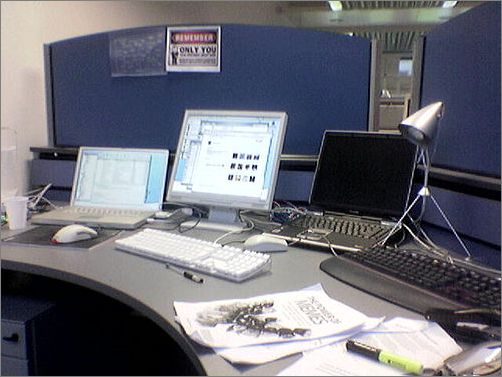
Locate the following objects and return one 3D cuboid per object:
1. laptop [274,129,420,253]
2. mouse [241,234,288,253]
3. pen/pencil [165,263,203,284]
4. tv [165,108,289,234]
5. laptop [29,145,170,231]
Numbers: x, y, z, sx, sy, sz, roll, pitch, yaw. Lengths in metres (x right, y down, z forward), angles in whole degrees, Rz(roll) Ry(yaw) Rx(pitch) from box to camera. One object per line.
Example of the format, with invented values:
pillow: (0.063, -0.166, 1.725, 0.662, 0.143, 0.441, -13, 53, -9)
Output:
laptop: (0.386, -0.039, 1.539, 0.533, 0.443, 0.406, 7, 8, 31)
mouse: (0.046, 0.179, 1.301, 0.119, 0.036, 0.065, 2, 8, -13)
pen/pencil: (-0.196, 0.253, 1.146, 0.021, 0.018, 0.139, 0, 10, -41)
tv: (-0.092, -0.063, 1.547, 0.490, 0.454, 0.203, 5, 5, 22)
laptop: (-0.604, -0.025, 1.804, 0.576, 0.356, 0.464, 2, 6, 12)
